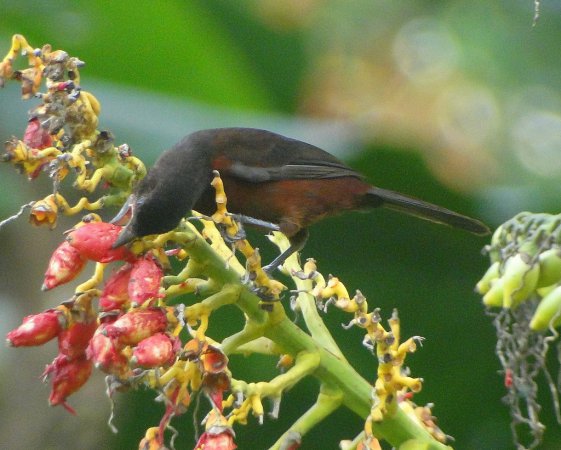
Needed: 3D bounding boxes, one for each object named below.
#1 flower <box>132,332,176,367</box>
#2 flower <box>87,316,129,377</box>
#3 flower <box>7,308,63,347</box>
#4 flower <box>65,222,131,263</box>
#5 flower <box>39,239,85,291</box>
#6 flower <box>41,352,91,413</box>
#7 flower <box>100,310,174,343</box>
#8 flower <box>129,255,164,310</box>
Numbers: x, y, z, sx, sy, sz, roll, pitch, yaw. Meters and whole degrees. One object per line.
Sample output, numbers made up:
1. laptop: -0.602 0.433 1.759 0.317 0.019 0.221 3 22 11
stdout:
1. flower: -0.250 0.252 1.769 0.053 0.077 0.042 57 -25 26
2. flower: -0.353 0.238 1.748 0.041 0.068 0.108 -17 66 -50
3. flower: -0.505 0.216 1.847 0.058 0.121 0.043 59 2 -42
4. flower: -0.372 0.037 1.856 0.131 0.064 0.070 23 -27 -16
5. flower: -0.443 0.080 1.864 0.068 0.125 0.044 47 -15 4
6. flower: -0.474 0.347 1.948 0.092 0.136 0.051 38 19 16
7. flower: -0.279 0.199 1.756 0.109 0.033 0.057 -14 22 -32
8. flower: -0.266 0.113 1.785 0.061 0.104 0.037 11 -46 5
